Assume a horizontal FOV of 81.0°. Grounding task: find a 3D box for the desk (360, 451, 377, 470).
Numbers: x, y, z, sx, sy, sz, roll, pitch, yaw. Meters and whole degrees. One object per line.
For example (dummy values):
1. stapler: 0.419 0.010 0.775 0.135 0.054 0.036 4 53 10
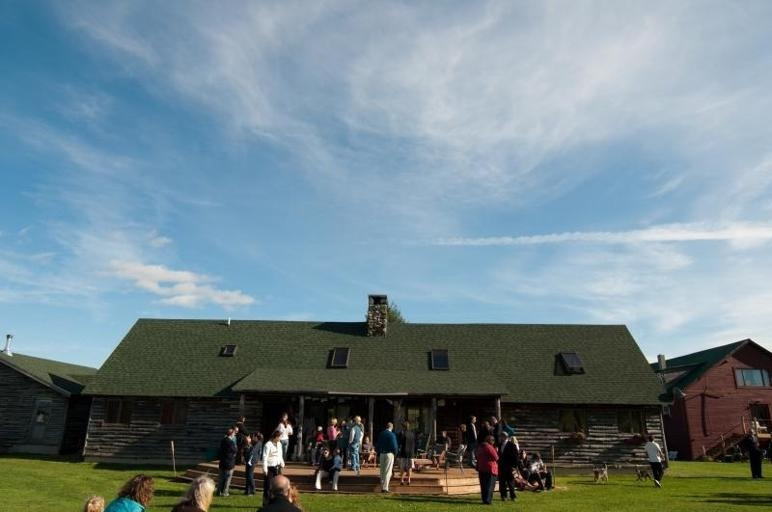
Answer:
1. desk: -0.804 9.591 21.325 0.788 0.686 0.809 -6 -24 14
